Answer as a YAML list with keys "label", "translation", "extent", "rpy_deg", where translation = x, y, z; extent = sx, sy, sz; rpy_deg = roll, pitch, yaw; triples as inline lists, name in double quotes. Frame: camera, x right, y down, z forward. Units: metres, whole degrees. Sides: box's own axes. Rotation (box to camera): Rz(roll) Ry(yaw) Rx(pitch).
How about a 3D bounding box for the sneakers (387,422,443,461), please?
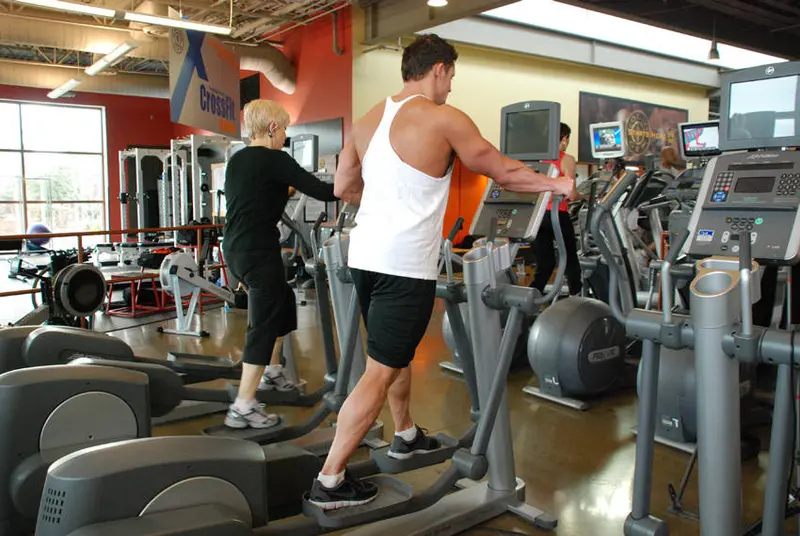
- label: "sneakers"
  translation: [0.086, 0.899, 3.149]
  extent: [0.339, 0.136, 0.107]
  rpy_deg: [3, 0, -42]

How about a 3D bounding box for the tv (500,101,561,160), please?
- label: "tv"
  translation: [0.709, -0.772, 3.388]
  extent: [0.393, 0.318, 0.043]
  rpy_deg: [-9, 18, -24]

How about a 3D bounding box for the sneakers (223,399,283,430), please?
- label: "sneakers"
  translation: [-0.898, 0.897, 3.708]
  extent: [0.383, 0.182, 0.133]
  rpy_deg: [1, 1, -13]

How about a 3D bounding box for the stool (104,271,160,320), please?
- label: "stool"
  translation: [-3.426, 0.322, 7.624]
  extent: [0.658, 0.435, 0.670]
  rpy_deg: [2, 5, 34]

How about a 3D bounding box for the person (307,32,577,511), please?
- label: "person"
  translation: [-0.010, -0.053, 2.920]
  extent: [1.118, 2.124, 0.642]
  rpy_deg: [-5, 13, -24]

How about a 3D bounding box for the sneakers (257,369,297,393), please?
- label: "sneakers"
  translation: [-0.866, 0.756, 4.139]
  extent: [0.296, 0.191, 0.134]
  rpy_deg: [0, 2, -17]

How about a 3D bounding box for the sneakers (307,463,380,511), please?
- label: "sneakers"
  translation: [-0.259, 1.011, 2.786]
  extent: [0.358, 0.166, 0.126]
  rpy_deg: [-1, 2, -28]

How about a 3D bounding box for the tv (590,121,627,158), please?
- label: "tv"
  translation: [1.794, -1.120, 5.283]
  extent: [0.314, 0.293, 0.172]
  rpy_deg: [-6, 5, -4]

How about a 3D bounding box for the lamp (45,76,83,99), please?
- label: "lamp"
  translation: [-7.632, -4.088, 13.529]
  extent: [0.573, 0.136, 0.404]
  rpy_deg: [-13, 15, 27]
